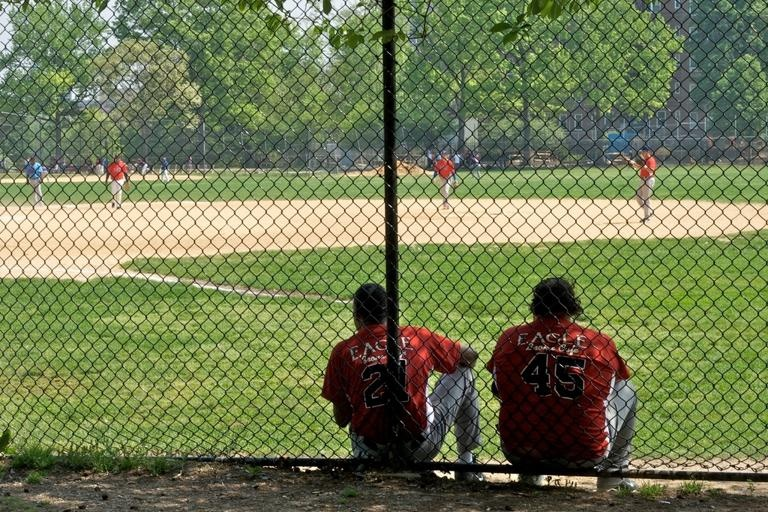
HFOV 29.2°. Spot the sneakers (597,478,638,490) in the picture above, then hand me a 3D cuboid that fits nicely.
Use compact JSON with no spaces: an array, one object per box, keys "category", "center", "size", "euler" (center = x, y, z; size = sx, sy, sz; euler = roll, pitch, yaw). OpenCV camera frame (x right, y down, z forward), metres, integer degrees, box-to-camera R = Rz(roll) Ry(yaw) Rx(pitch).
[{"category":"sneakers","center":[3.611,3.507,22.969],"size":[0.387,0.138,0.287],"euler":[4,-6,4]}]

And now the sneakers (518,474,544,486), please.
[{"category":"sneakers","center":[2.320,3.471,23.106],"size":[0.219,0.161,0.223],"euler":[0,0,25]}]
